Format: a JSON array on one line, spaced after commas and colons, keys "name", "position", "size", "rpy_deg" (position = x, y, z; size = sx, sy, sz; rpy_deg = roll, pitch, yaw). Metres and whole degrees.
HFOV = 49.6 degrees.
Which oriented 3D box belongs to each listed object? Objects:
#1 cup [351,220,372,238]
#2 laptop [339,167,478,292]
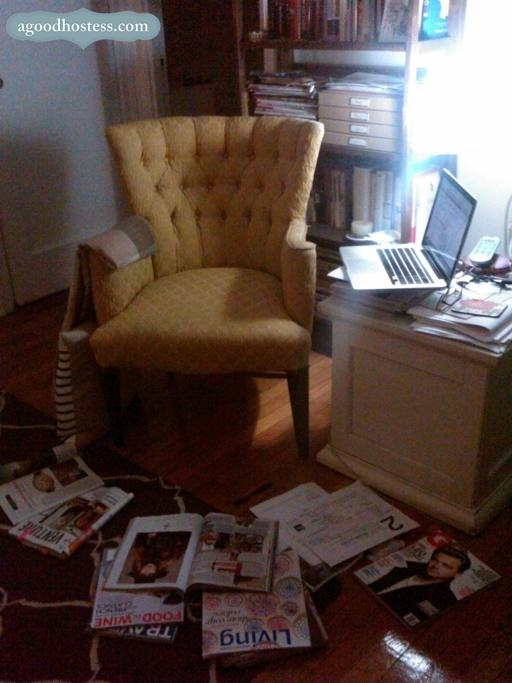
[{"name": "cup", "position": [0.381, -0.404, 1.978], "size": [0.076, 0.045, 0.075], "rpy_deg": [-5, 30, 3]}, {"name": "laptop", "position": [0.344, -0.263, 1.292], "size": [0.310, 0.207, 0.337], "rpy_deg": [6, 29, 20]}]
